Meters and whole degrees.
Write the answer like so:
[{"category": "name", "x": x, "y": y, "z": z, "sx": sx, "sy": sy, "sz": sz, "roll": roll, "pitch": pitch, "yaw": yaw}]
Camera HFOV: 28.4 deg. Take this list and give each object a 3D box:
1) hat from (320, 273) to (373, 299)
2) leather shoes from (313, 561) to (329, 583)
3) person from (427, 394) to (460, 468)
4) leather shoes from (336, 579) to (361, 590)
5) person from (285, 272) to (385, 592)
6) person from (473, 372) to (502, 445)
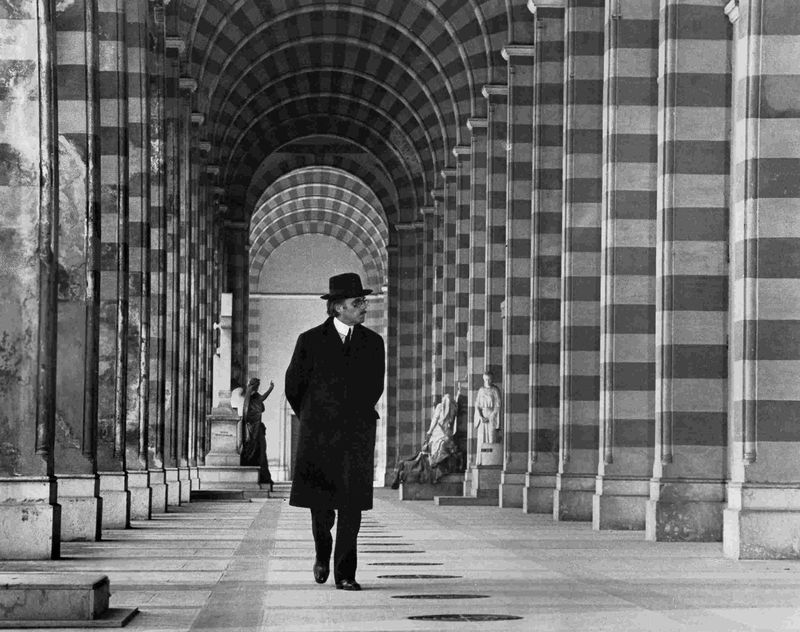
[{"category": "hat", "x": -0.517, "y": -0.245, "z": 14.126, "sx": 0.301, "sy": 0.124, "sz": 0.275, "roll": -11, "pitch": 0, "yaw": 33}, {"category": "leather shoes", "x": -0.702, "y": 2.277, "z": 14.021, "sx": 0.087, "sy": 0.210, "sz": 0.084, "roll": 0, "pitch": 1, "yaw": -6}, {"category": "person", "x": 0.996, "y": 2.635, "z": 35.436, "sx": 0.586, "sy": 1.621, "sz": 1.064, "roll": 2, "pitch": -6, "yaw": -14}, {"category": "leather shoes", "x": -0.451, "y": 2.336, "z": 13.700, "sx": 0.174, "sy": 0.076, "sz": 0.086, "roll": -4, "pitch": -3, "yaw": 23}, {"category": "person", "x": -0.595, "y": 0.996, "z": 14.019, "sx": 0.861, "sy": 2.821, "sz": 0.571, "roll": 1, "pitch": -6, "yaw": 0}, {"category": "person", "x": 1.850, "y": 1.955, "z": 32.872, "sx": 0.533, "sy": 1.671, "sz": 1.387, "roll": 1, "pitch": -6, "yaw": 2}]
